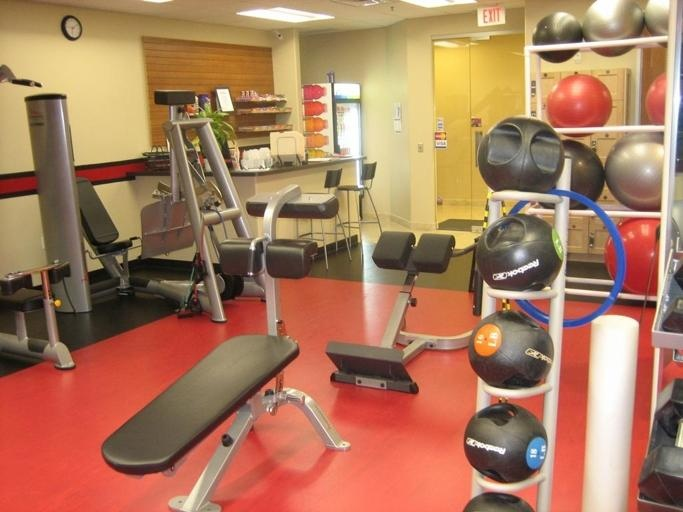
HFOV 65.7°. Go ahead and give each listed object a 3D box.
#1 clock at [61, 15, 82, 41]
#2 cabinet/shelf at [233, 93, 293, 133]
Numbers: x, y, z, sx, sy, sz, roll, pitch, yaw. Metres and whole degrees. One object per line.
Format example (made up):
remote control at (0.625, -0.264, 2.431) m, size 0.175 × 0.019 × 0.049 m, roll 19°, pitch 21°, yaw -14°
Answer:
clock at (-3.245, -2.737, 6.352) m, size 0.043 × 0.334 × 0.324 m, roll -2°, pitch 6°, yaw 24°
cabinet/shelf at (-1.293, -2.311, 8.594) m, size 0.508 × 0.649 × 1.083 m, roll 8°, pitch 21°, yaw 35°
